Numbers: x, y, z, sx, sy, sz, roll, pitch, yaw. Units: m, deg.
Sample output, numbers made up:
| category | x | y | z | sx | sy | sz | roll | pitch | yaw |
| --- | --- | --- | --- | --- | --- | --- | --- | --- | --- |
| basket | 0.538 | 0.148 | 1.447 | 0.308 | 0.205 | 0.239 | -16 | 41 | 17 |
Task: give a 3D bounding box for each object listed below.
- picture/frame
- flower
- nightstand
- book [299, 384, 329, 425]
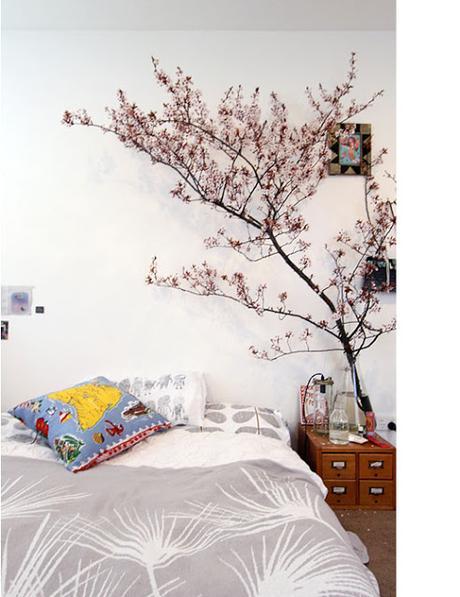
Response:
| category | x | y | z | sx | sy | sz | roll | pitch | yaw |
| --- | --- | --- | --- | --- | --- | --- | --- | --- | --- |
| picture/frame | 0.592 | -0.755 | 2.666 | 0.310 | 0.329 | 0.033 | 0 | 1 | -5 |
| flower | 0.193 | -0.518 | 3.131 | 1.365 | 1.930 | 0.548 | -21 | 3 | -1 |
| nightstand | 0.500 | 0.736 | 2.255 | 0.365 | 0.298 | 0.497 | 0 | 1 | 3 |
| book | 0.407 | 0.514 | 2.500 | 0.036 | 0.258 | 0.209 | 7 | -9 | -38 |
